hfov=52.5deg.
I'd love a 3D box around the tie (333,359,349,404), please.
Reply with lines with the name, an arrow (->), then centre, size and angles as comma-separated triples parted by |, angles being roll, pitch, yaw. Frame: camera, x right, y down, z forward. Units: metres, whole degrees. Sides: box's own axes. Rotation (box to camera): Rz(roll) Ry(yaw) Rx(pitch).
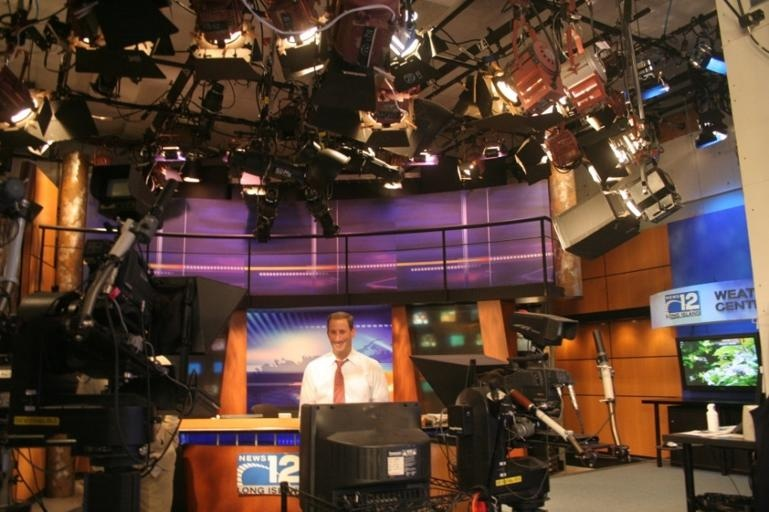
tie -> -0.478, 1.268, 7.976 | 0.123, 0.412, 0.050 | 0, -17, -4
